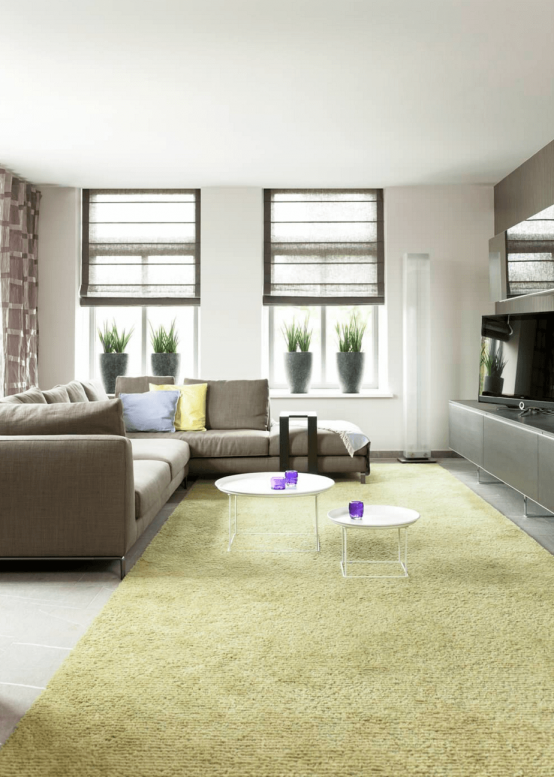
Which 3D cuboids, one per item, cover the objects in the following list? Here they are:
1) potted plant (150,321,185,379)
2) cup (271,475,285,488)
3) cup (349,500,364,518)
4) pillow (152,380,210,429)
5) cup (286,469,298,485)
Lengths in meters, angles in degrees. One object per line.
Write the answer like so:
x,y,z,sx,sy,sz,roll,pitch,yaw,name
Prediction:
-1.185,-0.422,6.784,0.310,0.639,0.382,0,-1,-12,potted plant
0.012,0.491,3.243,0.051,0.042,0.053,-1,1,0,cup
0.377,0.560,2.907,0.073,0.077,0.078,3,4,0,cup
-0.794,0.230,5.692,0.397,0.395,0.145,-13,-18,39,pillow
0.091,0.481,3.320,0.064,0.080,0.070,1,6,-6,cup
